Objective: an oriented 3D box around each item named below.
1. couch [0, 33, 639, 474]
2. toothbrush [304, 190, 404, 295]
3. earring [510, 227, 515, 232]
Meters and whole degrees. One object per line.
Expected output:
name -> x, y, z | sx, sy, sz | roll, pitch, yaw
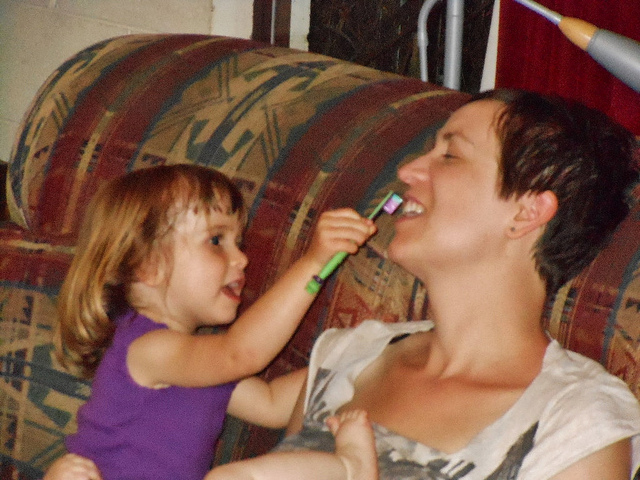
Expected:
couch -> -0.037, 0.066, 1.587 | 1.085, 0.683, 0.620 | 7, 16, 32
toothbrush -> 0.089, 0.011, 1.555 | 0.063, 0.282, 0.040 | 41, 9, 30
earring -> 0.415, -0.023, 1.395 | 0.008, 0.009, 0.002 | 15, 0, 10
